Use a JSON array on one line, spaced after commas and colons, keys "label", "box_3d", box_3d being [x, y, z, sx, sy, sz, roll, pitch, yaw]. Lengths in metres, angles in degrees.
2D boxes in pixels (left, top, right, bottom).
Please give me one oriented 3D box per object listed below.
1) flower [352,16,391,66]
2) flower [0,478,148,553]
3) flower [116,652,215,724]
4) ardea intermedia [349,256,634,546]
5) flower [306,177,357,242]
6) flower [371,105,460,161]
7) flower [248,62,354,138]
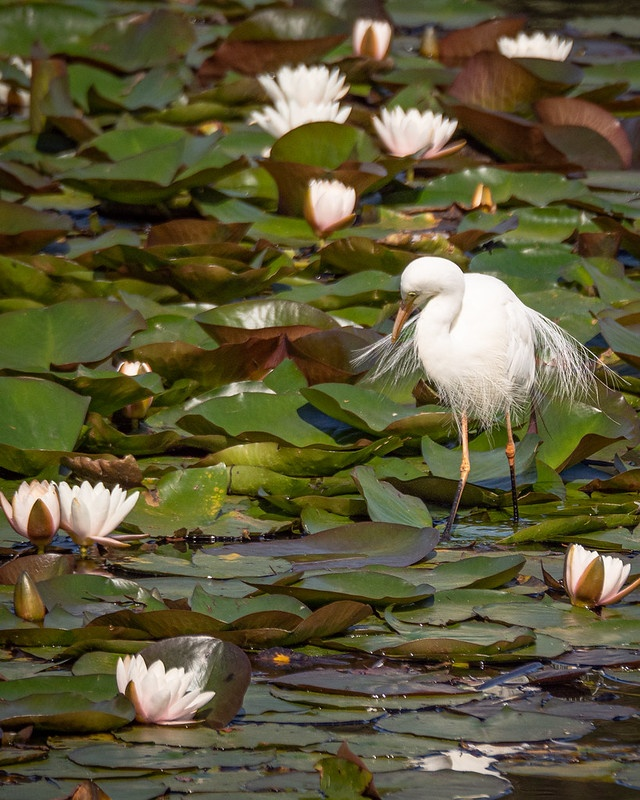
[{"label": "flower", "box_3d": [0.319, -2.213, 5.837, 0.257, 0.287, 0.250, -9, 44, 6]}, {"label": "flower", "box_3d": [-0.580, 0.258, 2.226, 0.277, 0.203, 0.105, 10, 84, -17]}, {"label": "flower", "box_3d": [-0.277, 0.487, 1.575, 0.141, 0.156, 0.071, 4, 68, 49]}, {"label": "ardea intermedia", "box_3d": [0.583, -0.016, 3.475, 1.208, 1.345, 0.744, 0, 86, 29]}, {"label": "flower", "box_3d": [0.042, -0.828, 4.078, 0.282, 0.224, 0.228, 5, 17, 11]}, {"label": "flower", "box_3d": [0.438, -1.295, 4.698, 0.437, 0.147, 0.368, -2, 7, -8]}, {"label": "flower", "box_3d": [-0.095, -1.476, 4.742, 0.475, 0.337, 0.665, -9, 41, 4]}]
